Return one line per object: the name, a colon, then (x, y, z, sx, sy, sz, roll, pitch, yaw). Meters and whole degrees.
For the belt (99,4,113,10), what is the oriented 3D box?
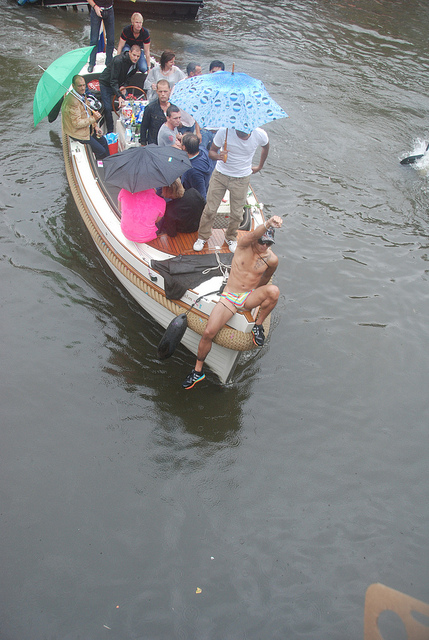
belt: (-1.951, -5.669, 11.646, 0.079, 0.084, 0.313, 21, 28, 26)

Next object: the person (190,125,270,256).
person: (0.254, -1.712, 7.871, 0.911, 1.726, 0.556, 0, 20, -26)

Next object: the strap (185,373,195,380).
strap: (-0.308, 0.701, 7.975, 0.066, 0.102, 0.096, 34, 13, 12)

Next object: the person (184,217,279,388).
person: (0.246, -0.164, 7.361, 0.857, 2.336, 0.601, 7, 27, -1)

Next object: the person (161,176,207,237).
person: (-0.296, -1.613, 8.374, 0.461, 0.426, 0.782, 34, 44, -33)

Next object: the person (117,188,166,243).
person: (-0.922, -1.350, 8.222, 0.586, 0.687, 0.276, 12, 24, 2)

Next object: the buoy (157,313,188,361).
buoy: (-0.505, 0.239, 7.782, 0.293, 0.704, 0.324, 9, 27, 2)

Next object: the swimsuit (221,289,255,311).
swimsuit: (0.252, -0.236, 7.413, 0.348, 0.224, 0.129, 26, 2, 13)

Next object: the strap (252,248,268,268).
strap: (0.508, -0.707, 7.177, 0.260, 0.006, 0.028, 46, -14, -19)
